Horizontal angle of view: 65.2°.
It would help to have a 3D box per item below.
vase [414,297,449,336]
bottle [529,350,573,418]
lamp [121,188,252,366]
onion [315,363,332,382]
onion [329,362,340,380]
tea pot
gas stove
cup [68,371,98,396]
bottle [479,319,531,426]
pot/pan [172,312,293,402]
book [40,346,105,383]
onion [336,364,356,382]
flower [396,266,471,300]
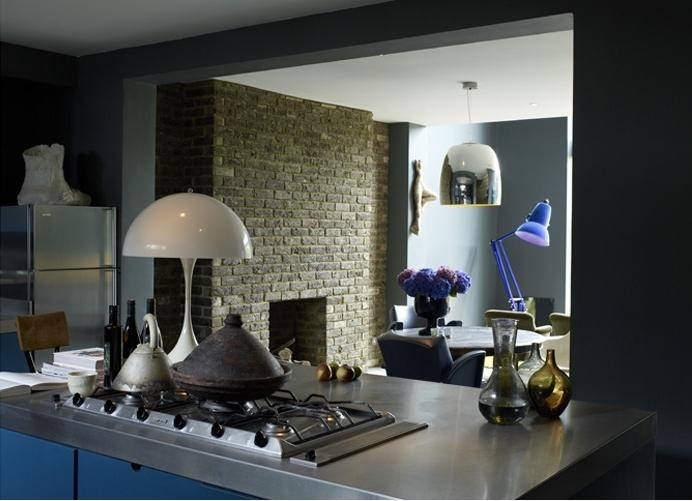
[{"bbox_3d":[0.771,0.553,4.894,0.282,0.418,0.276,1,2,-20],"label":"vase"},{"bbox_3d":[0.709,0.461,1.884,0.146,0.216,0.148,3,-8,0],"label":"bottle"},{"bbox_3d":[-0.660,0.058,2.240,0.454,0.633,0.463,5,13,15],"label":"lamp"},{"bbox_3d":[-0.097,0.530,2.360,0.066,0.070,0.101,0,6,-5],"label":"onion"},{"bbox_3d":[-0.052,0.531,2.388,0.066,0.076,0.066,2,4,0],"label":"onion"},{"bbox_3d":[-0.754,0.395,2.115,0.255,0.282,0.289,3,-6,-28],"label":"tea pot"},{"bbox_3d":[-0.316,0.521,1.825,1.074,0.102,0.506,4,7,30],"label":"gas stove"},{"bbox_3d":[-0.975,0.491,2.039,0.096,0.083,0.108,6,7,43],"label":"cup"},{"bbox_3d":[0.535,0.397,1.822,0.158,0.353,0.225,3,6,16],"label":"bottle"},{"bbox_3d":[-0.386,0.358,1.819,0.398,0.267,0.401,4,0,31],"label":"pot/pan"},{"bbox_3d":[-1.136,0.477,2.303,0.195,0.048,0.198,1,1,31],"label":"book"},{"bbox_3d":[-0.009,0.526,2.342,0.073,0.065,0.071,-7,7,-39],"label":"onion"},{"bbox_3d":[0.735,0.296,4.928,0.582,0.285,0.592,-8,8,20],"label":"flower"}]
